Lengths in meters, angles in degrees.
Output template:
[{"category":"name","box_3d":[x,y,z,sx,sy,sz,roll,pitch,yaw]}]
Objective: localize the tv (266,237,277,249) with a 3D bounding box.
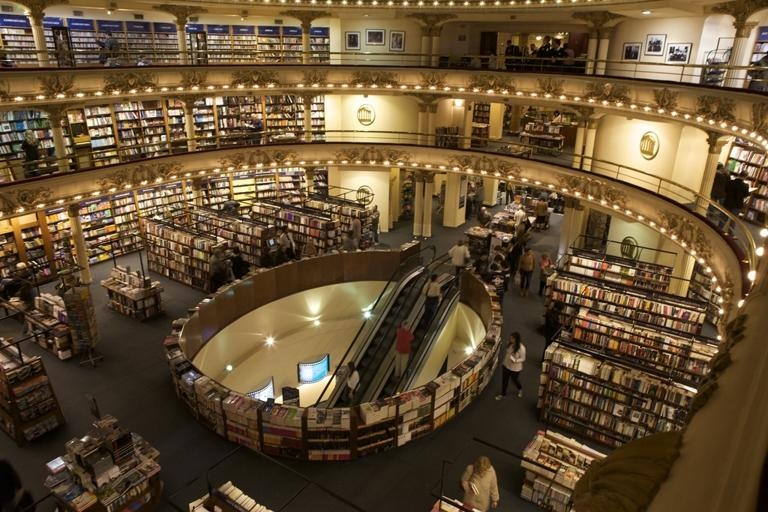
[{"category":"tv","box_3d":[-4.078,-0.465,17.606,0.220,0.354,0.428,7,14,30]}]

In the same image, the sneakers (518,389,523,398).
[{"category":"sneakers","box_3d":[3.466,3.509,12.466,0.091,0.095,0.246,4,18,21]}]

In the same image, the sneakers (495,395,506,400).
[{"category":"sneakers","box_3d":[2.920,3.574,12.374,0.209,0.081,0.105,-13,23,-40]}]

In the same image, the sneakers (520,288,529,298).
[{"category":"sneakers","box_3d":[4.916,1.276,17.215,0.211,0.248,0.253,0,22,1]}]
